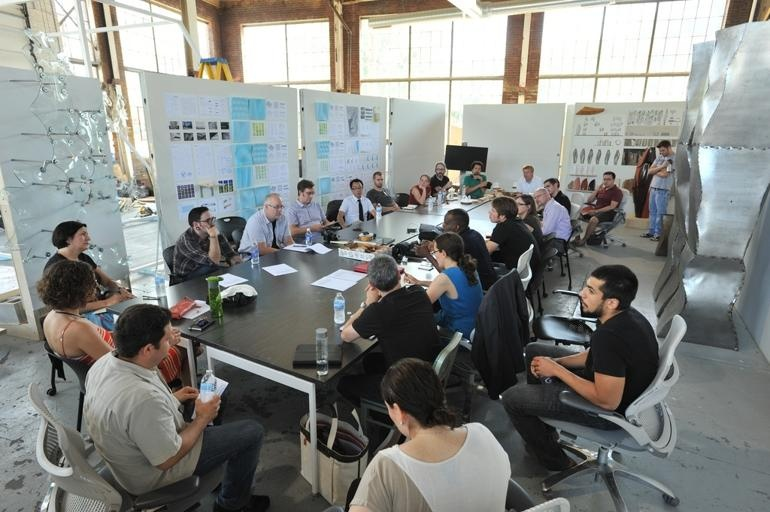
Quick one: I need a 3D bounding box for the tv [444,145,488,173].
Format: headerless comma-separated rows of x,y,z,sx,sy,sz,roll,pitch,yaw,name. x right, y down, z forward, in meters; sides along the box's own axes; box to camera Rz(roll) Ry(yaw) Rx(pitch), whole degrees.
1.872,-2.285,11.116,1.060,0.607,0.107,3,10,11,tv

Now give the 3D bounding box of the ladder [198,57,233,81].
-2.487,-2.733,6.924,0.440,0.380,0.829,-7,17,-19,ladder

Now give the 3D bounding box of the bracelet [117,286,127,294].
-2.876,0.364,5.208,0.145,0.055,0.049,16,19,35,bracelet

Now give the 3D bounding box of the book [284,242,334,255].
-0.932,-0.099,5.901,0.417,0.055,0.220,10,19,19,book

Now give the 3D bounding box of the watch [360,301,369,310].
-0.192,0.446,4.351,0.086,0.059,0.093,5,-1,33,watch
